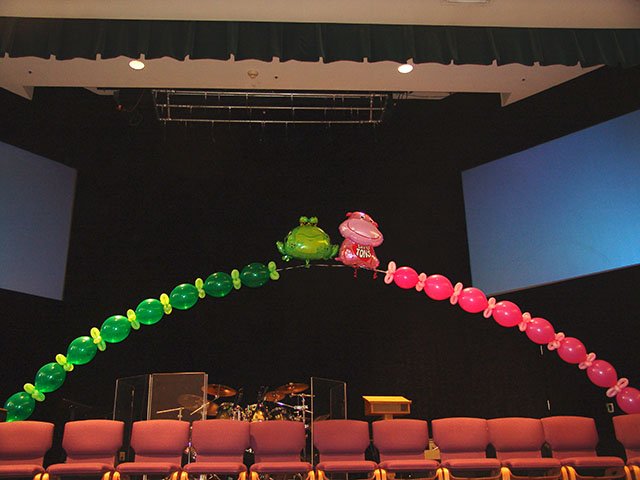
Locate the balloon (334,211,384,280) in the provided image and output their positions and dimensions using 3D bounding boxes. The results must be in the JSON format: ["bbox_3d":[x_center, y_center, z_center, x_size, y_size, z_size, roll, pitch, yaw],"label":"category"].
[{"bbox_3d":[0.555,0.120,7.552,0.785,0.553,1.036,8,74,-26],"label":"balloon"}]

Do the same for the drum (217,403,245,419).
[{"bbox_3d":[-1.148,2.210,6.787,0.193,0.193,0.140,15,62,-26],"label":"drum"}]

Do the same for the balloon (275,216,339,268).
[{"bbox_3d":[-0.177,-0.005,7.663,0.743,0.779,0.481,3,101,0],"label":"balloon"}]
